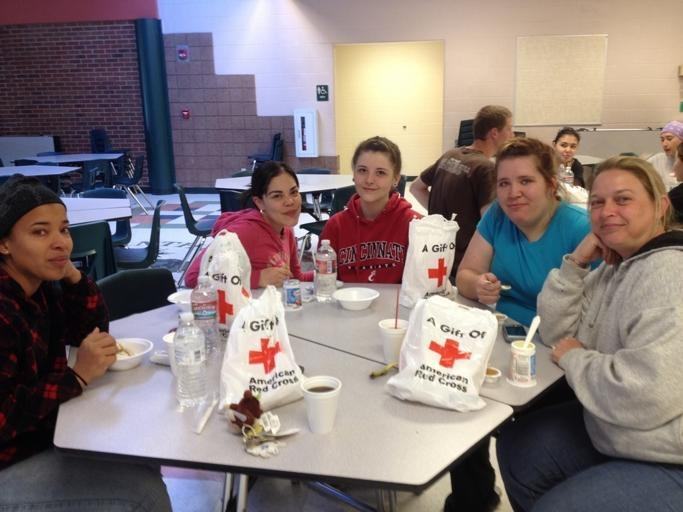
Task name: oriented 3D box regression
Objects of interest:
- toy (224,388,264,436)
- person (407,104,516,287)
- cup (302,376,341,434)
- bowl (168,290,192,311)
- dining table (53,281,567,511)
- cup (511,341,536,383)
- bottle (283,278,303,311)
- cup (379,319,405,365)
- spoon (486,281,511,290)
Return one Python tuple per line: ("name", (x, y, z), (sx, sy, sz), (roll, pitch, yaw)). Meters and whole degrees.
("toy", (-0.265, 0.434, 1.467), (0.092, 0.118, 0.052), (5, 1, -28))
("person", (0.909, -0.266, 4.078), (0.759, 1.702, 0.525), (21, 40, 39))
("cup", (-0.055, 0.414, 1.492), (0.132, 0.137, 0.136), (0, 3, 0))
("bowl", (-0.675, 0.181, 2.218), (0.109, 0.041, 0.115), (1, 12, 0))
("dining table", (-0.153, 0.462, 1.607), (0.953, 0.473, 0.946), (2, 19, 9))
("cup", (0.589, 0.355, 1.721), (0.084, 0.117, 0.084), (-1, 6, 0))
("bottle", (-0.209, 0.168, 2.336), (0.111, 0.152, 0.109), (-1, 11, 0))
("cup", (0.187, 0.302, 1.879), (0.138, 0.149, 0.133), (1, 2, 0))
("spoon", (0.658, 0.117, 2.272), (0.065, 0.031, 0.093), (8, 5, 41))
